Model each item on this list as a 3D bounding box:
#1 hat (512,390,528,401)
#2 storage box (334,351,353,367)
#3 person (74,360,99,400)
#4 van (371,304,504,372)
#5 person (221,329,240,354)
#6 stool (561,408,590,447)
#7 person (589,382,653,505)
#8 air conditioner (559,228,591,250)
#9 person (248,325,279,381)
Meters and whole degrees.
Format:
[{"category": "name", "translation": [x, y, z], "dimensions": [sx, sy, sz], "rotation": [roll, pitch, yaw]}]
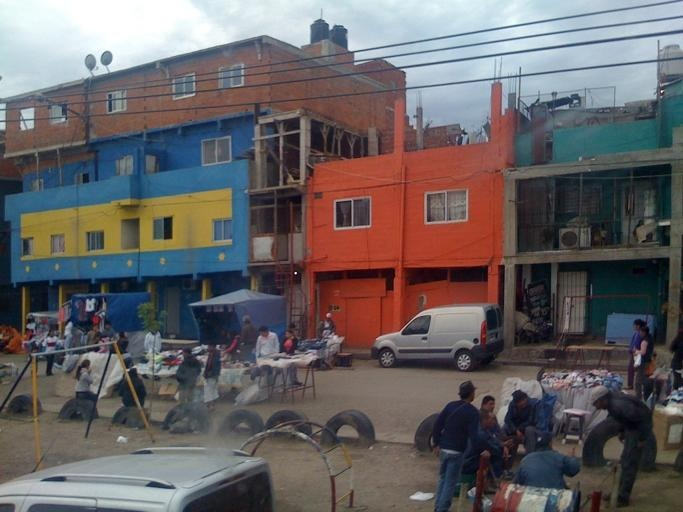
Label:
[{"category": "hat", "translation": [4.981, 3.905, 31.403], "dimensions": [0.300, 0.094, 0.307], "rotation": [-12, 7, 12]}, {"category": "storage box", "translation": [0.089, 4.050, 43.783], "dimensions": [0.525, 0.405, 0.538], "rotation": [-2, -4, 18]}, {"category": "person", "translation": [-8.499, 4.102, 37.108], "dimensions": [0.628, 1.347, 0.807], "rotation": [-2, -2, -14]}, {"category": "van", "translation": [3.756, 3.056, 42.969], "dimensions": [3.827, 1.968, 2.418], "rotation": [2, -1, 21]}, {"category": "person", "translation": [-4.093, 3.193, 41.713], "dimensions": [0.580, 0.828, 1.773], "rotation": [-2, -3, -5]}, {"category": "stool", "translation": [6.851, 5.011, 32.910], "dimensions": [0.920, 1.235, 0.894], "rotation": [1, 0, 7]}, {"category": "person", "translation": [7.593, 5.064, 30.009], "dimensions": [1.447, 3.171, 0.621], "rotation": [-2, -2, -9]}, {"category": "air conditioner", "translation": [9.220, -0.763, 44.166], "dimensions": [0.921, 0.746, 0.979], "rotation": [-2, -3, 38]}, {"category": "person", "translation": [-2.657, 3.399, 38.689], "dimensions": [0.966, 1.976, 1.554], "rotation": [-2, -2, -5]}]
